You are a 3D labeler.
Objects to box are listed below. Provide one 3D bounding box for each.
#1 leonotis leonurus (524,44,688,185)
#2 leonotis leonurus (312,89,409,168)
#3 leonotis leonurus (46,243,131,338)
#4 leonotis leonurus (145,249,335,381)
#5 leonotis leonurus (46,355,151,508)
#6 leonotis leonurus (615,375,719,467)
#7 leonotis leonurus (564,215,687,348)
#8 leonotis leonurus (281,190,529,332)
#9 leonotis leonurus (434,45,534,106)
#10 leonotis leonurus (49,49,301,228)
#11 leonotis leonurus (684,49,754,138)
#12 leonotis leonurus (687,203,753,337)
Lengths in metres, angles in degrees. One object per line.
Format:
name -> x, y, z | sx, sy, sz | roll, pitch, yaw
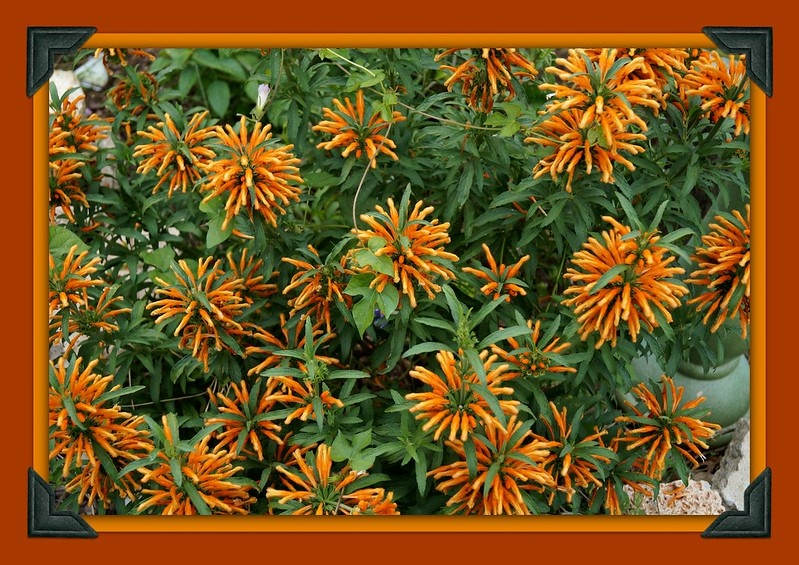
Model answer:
leonotis leonurus -> 0.742, -0.596, 2.779 | 0.587, 0.536, 0.405 | 1, -1, -9
leonotis leonurus -> -0.149, -0.596, 2.942 | 0.338, 0.318, 0.373 | 1, -1, 5
leonotis leonurus -> -1.198, 0.051, 3.096 | 0.350, 0.436, 0.459 | 1, -1, -13
leonotis leonurus -> -0.723, 0.059, 3.059 | 0.507, 0.538, 0.360 | 24, -25, -9
leonotis leonurus -> -1.145, 0.573, 2.905 | 0.353, 0.590, 0.468 | 1, -1, -22
leonotis leonurus -> 1.027, 0.559, 2.920 | 0.357, 0.401, 0.244 | 1, -1, 22
leonotis leonurus -> 0.796, 0.004, 2.687 | 0.289, 0.287, 0.342 | -30, -30, -17
leonotis leonurus -> -0.009, -0.068, 2.804 | 0.890, 0.511, 0.464 | 1, -1, 13
leonotis leonurus -> 0.335, -0.796, 2.888 | 0.279, 0.279, 0.241 | -18, 12, 13
leonotis leonurus -> -0.946, -0.595, 3.215 | 1.033, 1.015, 0.552 | -5, -37, -21
leonotis leonurus -> 1.221, -0.734, 2.923 | 0.234, 0.355, 0.253 | 1, -1, 20
leonotis leonurus -> 1.221, -0.040, 2.906 | 0.216, 0.513, 0.351 | 1, -1, 22
